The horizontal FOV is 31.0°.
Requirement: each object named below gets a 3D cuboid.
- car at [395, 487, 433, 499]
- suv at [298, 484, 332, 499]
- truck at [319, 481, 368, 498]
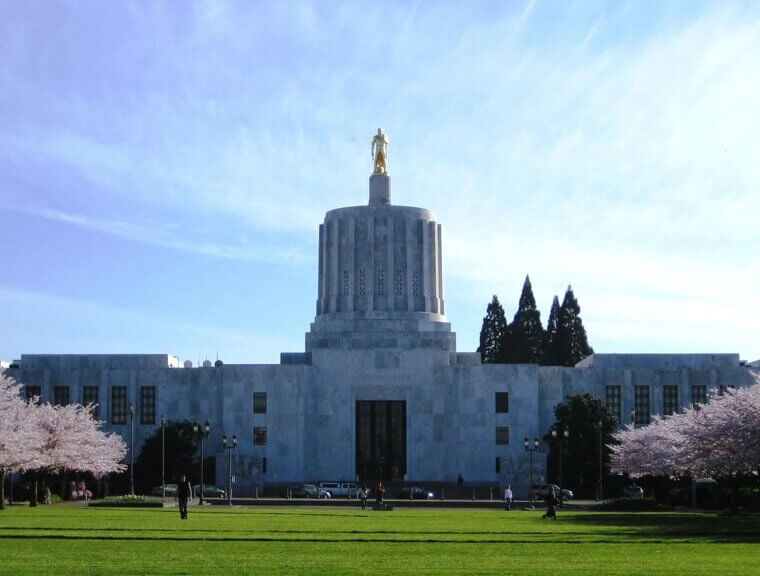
[{"bbox_3d":[2.340,13.940,93.078,2.424,0.870,1.148,-2,-1,4],"label":"car"},{"bbox_3d":[-4.665,14.317,96.879,1.732,0.849,1.049,-1,0,5],"label":"suv"},{"bbox_3d":[-2.681,14.310,97.889,2.713,1.074,2.114,-1,-6,3],"label":"truck"}]
